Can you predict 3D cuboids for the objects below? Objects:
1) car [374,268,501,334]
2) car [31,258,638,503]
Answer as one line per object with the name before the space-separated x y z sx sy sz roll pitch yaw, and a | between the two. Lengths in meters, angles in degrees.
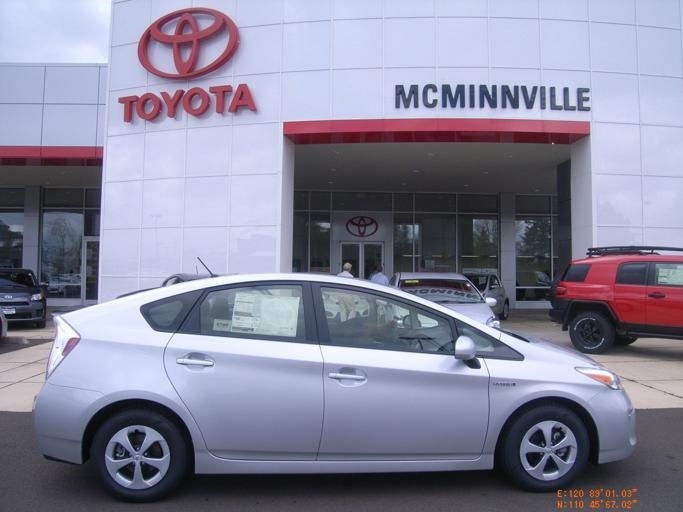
car | 2.182 0.875 11.627 1.248 0.903 2.029 0 -7 -2
car | -0.152 1.343 6.885 5.437 1.828 2.602 -1 -2 -2
